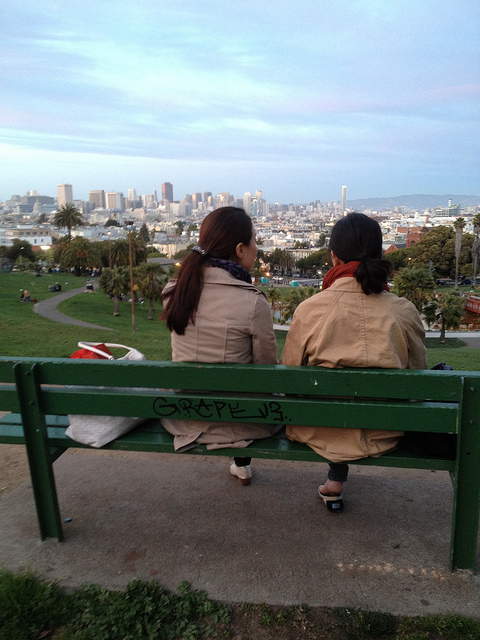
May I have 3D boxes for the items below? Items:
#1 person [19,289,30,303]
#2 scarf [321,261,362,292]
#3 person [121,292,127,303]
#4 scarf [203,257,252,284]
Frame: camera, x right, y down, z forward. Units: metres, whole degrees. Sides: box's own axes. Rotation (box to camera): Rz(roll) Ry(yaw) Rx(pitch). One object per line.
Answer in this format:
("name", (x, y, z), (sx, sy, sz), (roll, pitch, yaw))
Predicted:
("person", (-19.758, -2.187, 46.092), (0.904, 0.596, 1.442), (-14, 23, -14))
("scarf", (0.465, -0.206, 2.351), (0.136, 0.074, 0.149), (0, 1, -6))
("person", (-11.154, -2.151, 48.547), (0.454, 0.647, 0.715), (-3, -9, 0))
("scarf", (-0.042, -0.229, 2.371), (0.179, 0.069, 0.135), (3, 8, -8))
